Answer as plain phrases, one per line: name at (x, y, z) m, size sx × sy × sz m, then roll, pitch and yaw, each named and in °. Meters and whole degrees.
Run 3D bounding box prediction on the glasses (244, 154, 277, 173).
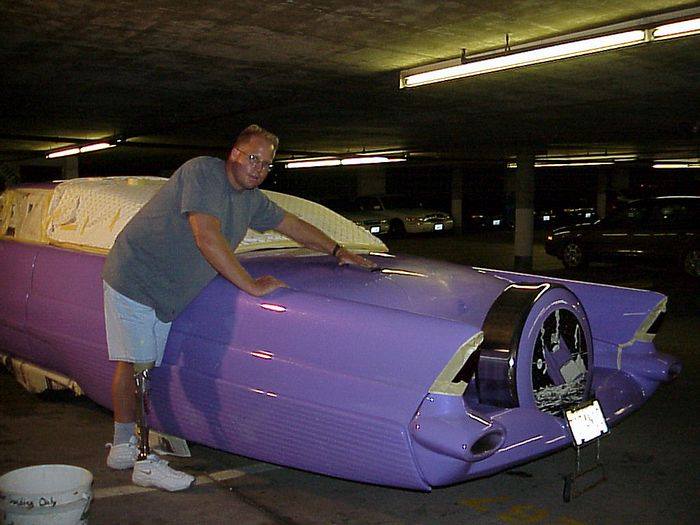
glasses at (-0.515, -0.555, 2.831) m, size 0.103 × 0.028 × 0.105 m, roll 28°, pitch 14°, yaw 31°
